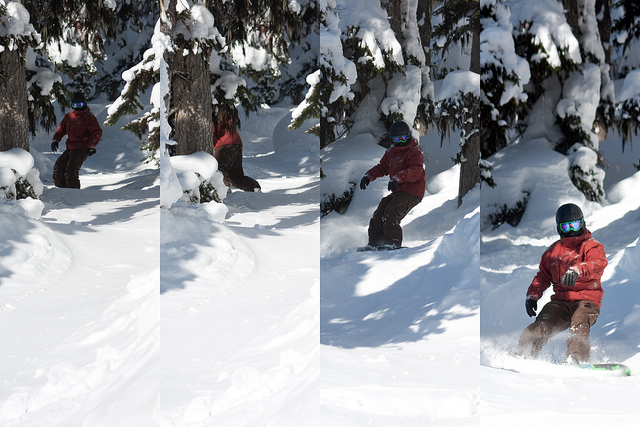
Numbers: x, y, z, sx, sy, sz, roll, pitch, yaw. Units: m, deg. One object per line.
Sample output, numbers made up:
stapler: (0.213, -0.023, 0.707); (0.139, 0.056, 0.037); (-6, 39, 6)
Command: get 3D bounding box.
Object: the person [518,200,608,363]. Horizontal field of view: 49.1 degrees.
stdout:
person: (1.358, 0.387, 3.927); (0.508, 0.892, 0.200); (-3, 9, 11)
